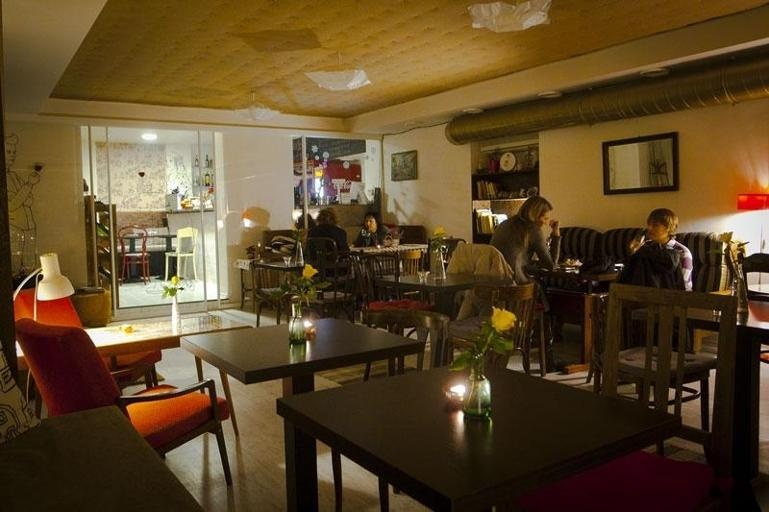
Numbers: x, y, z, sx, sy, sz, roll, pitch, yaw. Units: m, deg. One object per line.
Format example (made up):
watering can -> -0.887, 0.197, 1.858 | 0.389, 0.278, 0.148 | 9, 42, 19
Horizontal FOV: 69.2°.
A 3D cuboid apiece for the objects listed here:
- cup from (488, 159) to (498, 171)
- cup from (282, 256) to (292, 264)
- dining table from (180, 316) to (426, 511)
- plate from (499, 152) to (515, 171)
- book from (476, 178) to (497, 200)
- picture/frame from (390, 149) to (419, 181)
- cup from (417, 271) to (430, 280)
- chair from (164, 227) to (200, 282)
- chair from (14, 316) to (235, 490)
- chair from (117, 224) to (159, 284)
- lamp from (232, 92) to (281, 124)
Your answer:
cup -> 1.880, -1.563, 9.527 | 0.167, 0.204, 0.099 | 0, 11, 13
cup -> -1.270, 0.045, 7.260 | 0.104, 0.081, 0.102 | -1, -2, 0
dining table -> -0.552, 0.639, 3.486 | 1.319, 1.273, 1.283 | -5, 9, -32
plate -> 2.078, -1.598, 9.395 | 0.140, 0.310, 0.348 | -11, 14, -39
book -> 1.769, -1.152, 9.656 | 0.337, 0.320, 0.080 | 6, 12, 39
picture/frame -> 0.425, -1.799, 10.927 | 0.052, 0.583, 0.713 | 1, -1, -42
cup -> 0.430, 0.207, 5.989 | 0.093, 0.071, 0.091 | -1, 2, 0
chair -> -3.670, -0.041, 10.252 | 0.542, 0.888, 1.117 | -7, 12, -24
chair -> -1.806, 0.850, 3.822 | 1.176, 1.239, 0.920 | -3, 2, -39
chair -> -5.171, -0.056, 11.568 | 0.627, 1.126, 0.922 | -7, 12, -22
lamp -> -1.861, -2.144, 8.300 | 0.736, 0.440, 0.710 | 0, 10, 1
